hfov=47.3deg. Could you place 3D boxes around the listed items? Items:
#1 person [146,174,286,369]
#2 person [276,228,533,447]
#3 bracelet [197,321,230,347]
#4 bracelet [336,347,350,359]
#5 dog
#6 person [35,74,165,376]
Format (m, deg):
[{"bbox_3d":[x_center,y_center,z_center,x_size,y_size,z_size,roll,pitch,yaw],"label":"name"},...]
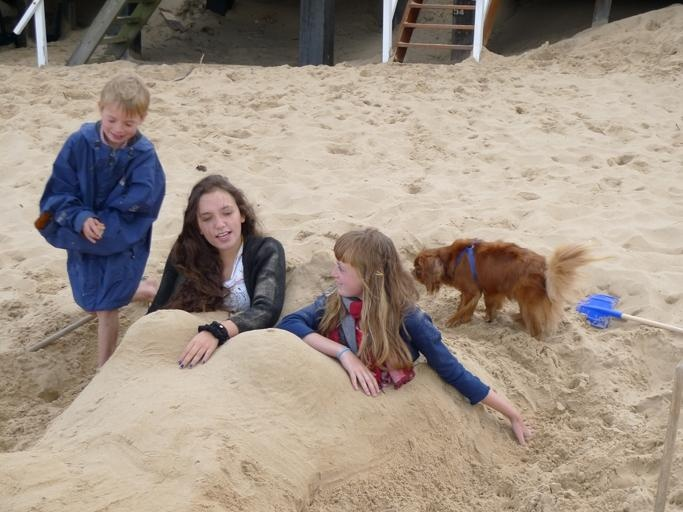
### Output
[{"bbox_3d":[-0.997,0.159,5.667,1.079,1.420,1.745,-1,7,5],"label":"person"},{"bbox_3d":[0.445,0.331,5.343,0.919,1.204,2.046,-19,34,-32],"label":"person"},{"bbox_3d":[-0.819,0.482,5.021,0.186,0.181,0.129,22,45,-2],"label":"bracelet"},{"bbox_3d":[0.008,0.624,5.018,0.019,0.068,0.068,40,20,-1],"label":"bracelet"},{"bbox_3d":[1.256,0.225,6.172,1.384,0.768,0.396,8,22,24],"label":"dog"},{"bbox_3d":[-1.776,-0.263,5.779,0.682,2.150,0.766,15,25,22],"label":"person"}]
